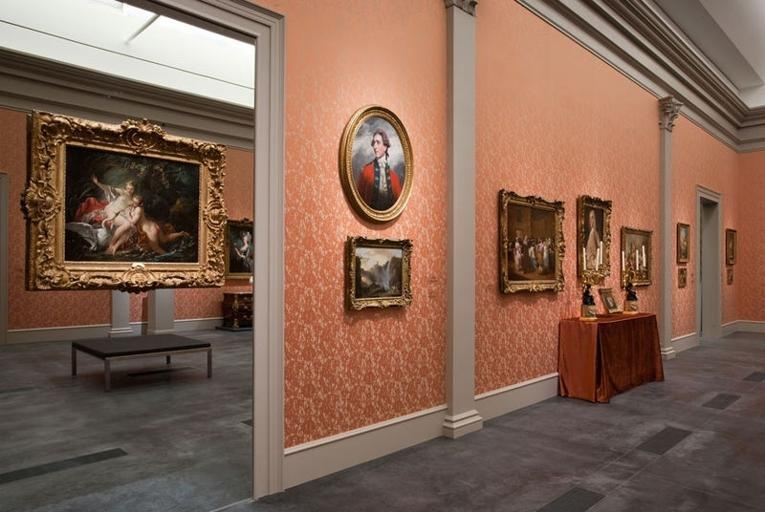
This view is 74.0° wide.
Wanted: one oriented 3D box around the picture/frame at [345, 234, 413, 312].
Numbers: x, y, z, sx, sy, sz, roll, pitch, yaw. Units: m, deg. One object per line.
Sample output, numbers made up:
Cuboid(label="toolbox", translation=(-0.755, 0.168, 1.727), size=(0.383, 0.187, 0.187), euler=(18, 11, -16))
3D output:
Cuboid(label="picture/frame", translation=(-0.100, 0.277, 8.161), size=(1.144, 1.057, 0.156), euler=(3, -5, -40))

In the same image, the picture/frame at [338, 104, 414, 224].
Cuboid(label="picture/frame", translation=(-0.085, -1.494, 8.205), size=(1.372, 1.844, 0.318), euler=(-6, 9, -40))

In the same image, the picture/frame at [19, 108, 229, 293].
Cuboid(label="picture/frame", translation=(-3.997, -0.845, 8.361), size=(2.956, 2.819, 0.203), euler=(2, -1, -42))

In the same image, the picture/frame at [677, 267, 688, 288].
Cuboid(label="picture/frame", translation=(9.491, 0.702, 16.205), size=(0.064, 0.666, 0.631), euler=(0, 0, 44))

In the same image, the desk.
Cuboid(label="desk", translation=(5.307, 2.213, 11.780), size=(2.826, 1.666, 1.253), euler=(-1, 0, -35))
